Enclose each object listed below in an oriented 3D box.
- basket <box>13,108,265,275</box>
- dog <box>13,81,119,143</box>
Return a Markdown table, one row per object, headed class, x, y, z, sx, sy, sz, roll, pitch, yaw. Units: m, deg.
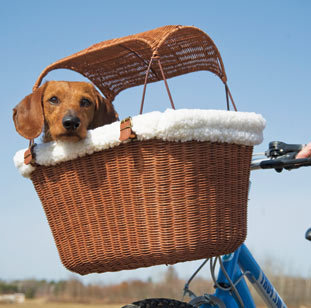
| class | x | y | z | sx | sy | sz | roll | pitch | yaw |
| --- | --- | --- | --- | --- | --- | --- | --- | --- | --- |
| basket | -0.037 | 0.145 | 4.799 | 0.926 | 0.589 | 0.692 | -17 | -14 | 19 |
| dog | -0.418 | -0.180 | 5.277 | 0.483 | 0.345 | 0.631 | 4 | 4 | -19 |
